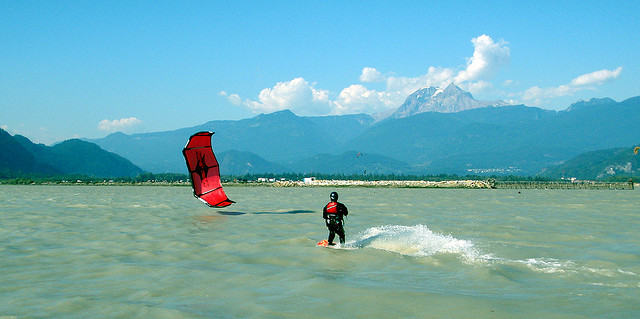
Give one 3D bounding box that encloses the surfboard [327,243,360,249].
[{"bbox_3d":[2.325,8.622,43.699,2.763,0.256,1.766,0,11,-7],"label":"surfboard"}]
